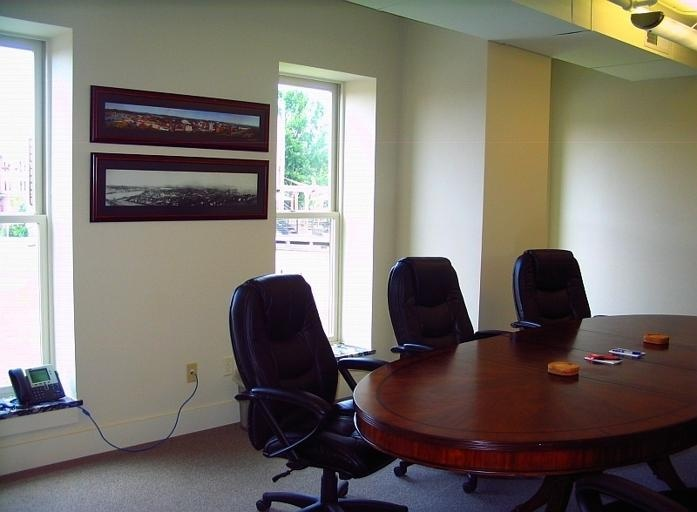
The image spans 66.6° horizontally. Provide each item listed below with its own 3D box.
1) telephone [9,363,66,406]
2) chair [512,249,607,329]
[{"bbox_3d":[-2.002,0.848,3.454,0.269,0.255,0.103,-10,-25,-42],"label":"telephone"},{"bbox_3d":[1.571,0.265,4.355,0.598,0.753,0.611,-1,-2,-17],"label":"chair"}]
